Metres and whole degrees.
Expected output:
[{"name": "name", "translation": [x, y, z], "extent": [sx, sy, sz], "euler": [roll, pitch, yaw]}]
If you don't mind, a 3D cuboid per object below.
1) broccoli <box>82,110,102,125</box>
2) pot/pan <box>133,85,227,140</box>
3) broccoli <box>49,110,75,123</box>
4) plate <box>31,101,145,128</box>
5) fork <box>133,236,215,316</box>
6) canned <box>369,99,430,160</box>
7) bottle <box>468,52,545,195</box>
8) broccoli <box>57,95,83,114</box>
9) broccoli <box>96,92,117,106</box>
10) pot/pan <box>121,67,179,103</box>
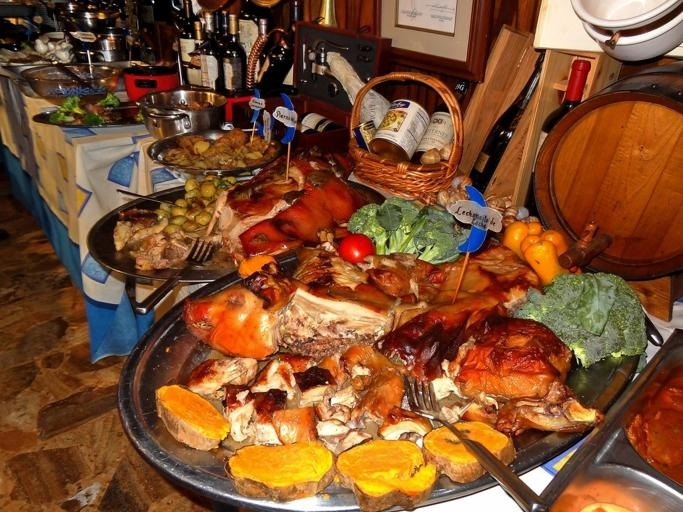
[{"name": "broccoli", "translation": [-1.352, -0.745, 2.787], "extent": [0.126, 0.038, 0.118], "euler": [0, 38, -14]}, {"name": "pot/pan", "translation": [-0.841, -0.746, 2.668], "extent": [0.447, 0.159, 0.430], "euler": [-8, 43, -13]}, {"name": "broccoli", "translation": [-1.542, -0.768, 2.829], "extent": [0.122, 0.063, 0.133], "euler": [-18, 22, -23]}, {"name": "plate", "translation": [-1.421, -0.794, 2.885], "extent": [0.415, 0.056, 0.407], "euler": [-23, 33, -39]}, {"name": "fork", "translation": [-0.556, 0.069, 1.718], "extent": [0.073, 0.047, 0.354], "euler": [12, 41, 17]}, {"name": "canned", "translation": [0.234, -0.508, 2.078], "extent": [0.205, 0.185, 0.185], "euler": [20, 78, 20]}, {"name": "bottle", "translation": [0.747, -0.561, 2.170], "extent": [0.166, 0.574, 0.135], "euler": [5, 40, -8]}, {"name": "broccoli", "translation": [-1.551, -0.862, 2.950], "extent": [0.147, 0.137, 0.161], "euler": [-7, 12, -26]}, {"name": "broccoli", "translation": [-1.427, -0.970, 3.131], "extent": [0.133, 0.033, 0.109], "euler": [-11, 45, -4]}, {"name": "pot/pan", "translation": [-1.196, -1.066, 3.216], "extent": [0.441, 0.208, 0.375], "euler": [-6, 26, -15]}]
